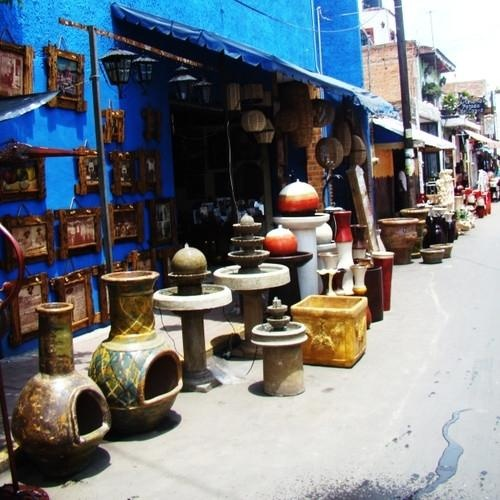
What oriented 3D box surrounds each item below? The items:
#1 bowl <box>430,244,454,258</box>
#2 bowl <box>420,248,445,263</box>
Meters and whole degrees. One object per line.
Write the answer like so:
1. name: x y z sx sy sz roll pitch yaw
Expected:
1. bowl: 4.703 -0.017 11.188 0.415 0.279 0.411 -2 5 0
2. bowl: 4.197 0.161 10.698 0.512 0.325 0.388 -2 4 8
